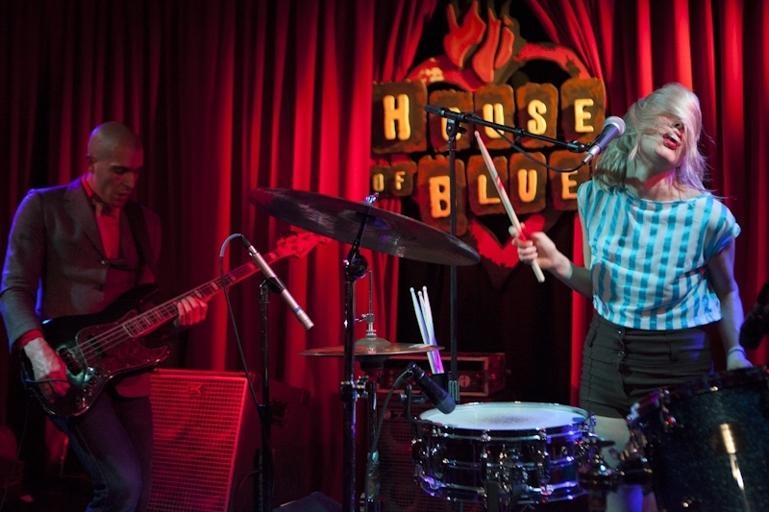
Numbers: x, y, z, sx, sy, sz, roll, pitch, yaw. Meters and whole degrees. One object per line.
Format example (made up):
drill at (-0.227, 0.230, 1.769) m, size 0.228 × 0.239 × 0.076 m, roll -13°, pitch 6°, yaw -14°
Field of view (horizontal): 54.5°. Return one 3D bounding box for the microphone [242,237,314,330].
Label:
microphone at (-0.600, 0.171, 4.285) m, size 0.089 × 0.627 × 0.091 m, roll -43°, pitch -20°, yaw 29°

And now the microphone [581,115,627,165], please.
microphone at (0.944, -0.500, 3.221) m, size 0.117 × 0.199 × 0.237 m, roll 1°, pitch 4°, yaw 34°

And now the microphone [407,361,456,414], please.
microphone at (0.222, 0.567, 3.248) m, size 0.168 × 0.236 × 0.259 m, roll 0°, pitch 4°, yaw 20°
